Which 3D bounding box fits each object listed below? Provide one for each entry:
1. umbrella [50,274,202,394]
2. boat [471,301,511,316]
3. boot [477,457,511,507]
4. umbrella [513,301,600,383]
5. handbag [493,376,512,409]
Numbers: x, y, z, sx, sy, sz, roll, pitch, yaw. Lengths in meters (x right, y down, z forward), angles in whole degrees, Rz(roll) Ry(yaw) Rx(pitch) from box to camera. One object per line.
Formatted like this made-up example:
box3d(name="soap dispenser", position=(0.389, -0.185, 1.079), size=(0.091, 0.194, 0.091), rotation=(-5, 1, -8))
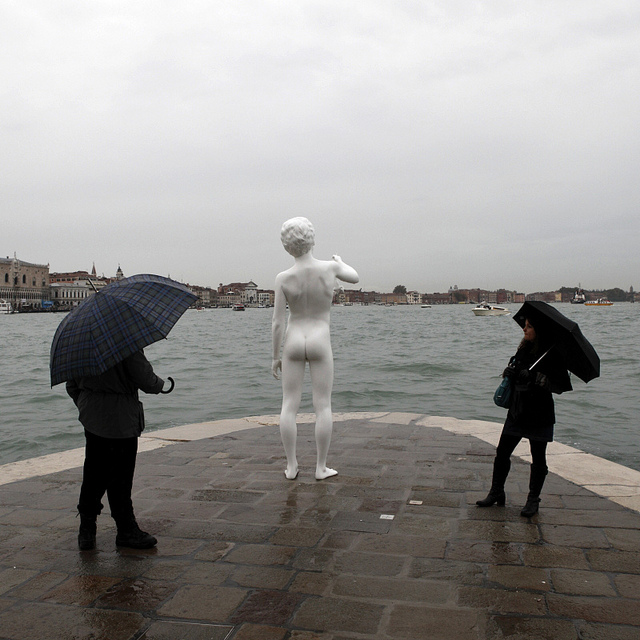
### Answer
box3d(name="umbrella", position=(-1.122, 0.038, 3.523), size=(0.826, 0.648, 0.643), rotation=(0, -1, 12))
box3d(name="boat", position=(26.508, -1.657, 94.128), size=(4.842, 1.763, 9.653), rotation=(0, -1, 16))
box3d(name="boot", position=(1.207, 1.084, 4.130), size=(0.259, 0.338, 0.147), rotation=(0, -1, -23))
box3d(name="umbrella", position=(1.557, 0.133, 4.009), size=(0.373, 0.562, 0.530), rotation=(-34, 40, -18))
box3d(name="handbag", position=(1.220, 0.474, 4.063), size=(0.112, 0.222, 0.190), rotation=(0, -1, 12))
